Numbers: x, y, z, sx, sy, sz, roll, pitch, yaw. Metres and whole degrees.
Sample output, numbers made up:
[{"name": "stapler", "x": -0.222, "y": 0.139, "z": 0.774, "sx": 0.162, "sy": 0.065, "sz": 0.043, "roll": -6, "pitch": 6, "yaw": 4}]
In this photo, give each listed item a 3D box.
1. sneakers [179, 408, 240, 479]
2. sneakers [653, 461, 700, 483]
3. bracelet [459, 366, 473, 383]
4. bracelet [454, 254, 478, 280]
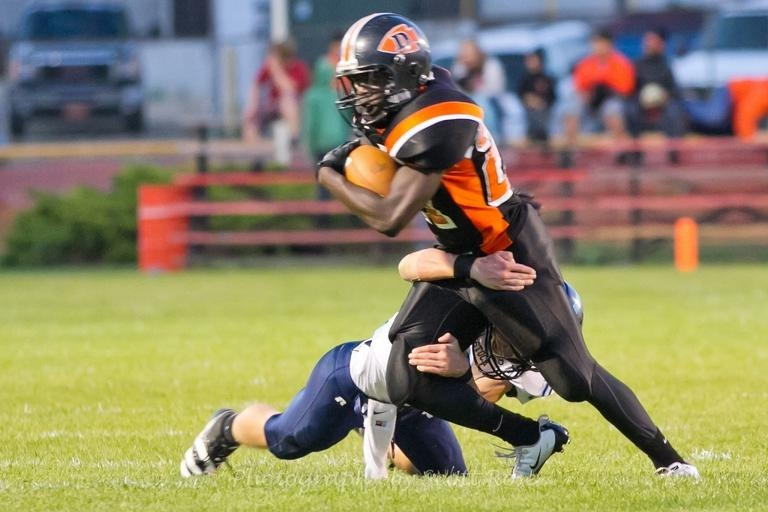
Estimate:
[{"name": "sneakers", "x": -1.215, "y": 1.329, "z": 8.222, "sx": 0.156, "sy": 0.170, "sz": 0.426, "roll": -32, "pitch": 17, "yaw": -34}, {"name": "sneakers", "x": 1.957, "y": 1.434, "z": 7.971, "sx": 0.295, "sy": 0.115, "sz": 0.106, "roll": 3, "pitch": -8, "yaw": 2}, {"name": "bracelet", "x": 0.538, "y": 0.788, "z": 8.020, "sx": 0.090, "sy": 0.086, "sz": 0.092, "roll": -12, "pitch": 47, "yaw": 16}, {"name": "bracelet", "x": 0.537, "y": 0.057, "z": 7.884, "sx": 0.131, "sy": 0.109, "sz": 0.161, "roll": 3, "pitch": -6, "yaw": 12}]
